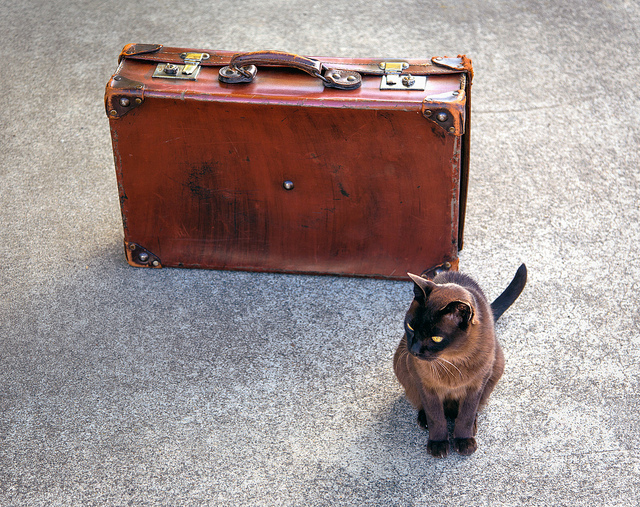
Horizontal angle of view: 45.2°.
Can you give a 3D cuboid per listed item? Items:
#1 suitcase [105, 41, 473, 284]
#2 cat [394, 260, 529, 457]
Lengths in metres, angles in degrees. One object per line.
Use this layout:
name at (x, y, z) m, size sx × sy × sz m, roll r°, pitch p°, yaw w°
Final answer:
suitcase at (-0.127, -0.405, 3.431) m, size 1.562 × 0.898 × 0.652 m, roll 1°, pitch 52°, yaw 5°
cat at (0.505, 0.367, 2.866) m, size 0.392 × 0.699 × 0.523 m, roll -22°, pitch 54°, yaw -11°
